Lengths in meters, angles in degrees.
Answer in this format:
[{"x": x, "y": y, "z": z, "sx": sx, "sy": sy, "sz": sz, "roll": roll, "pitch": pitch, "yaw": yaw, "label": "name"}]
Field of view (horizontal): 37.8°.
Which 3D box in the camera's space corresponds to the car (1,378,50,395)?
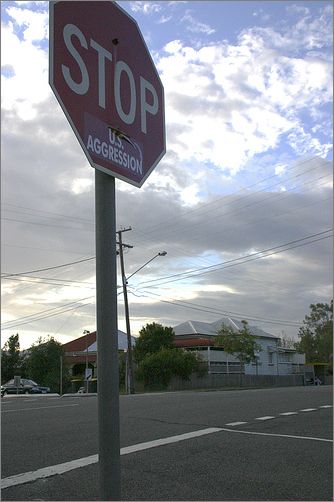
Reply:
[{"x": -12.022, "y": 11.372, "z": 40.608, "sx": 3.777, "sy": 1.195, "sz": 1.994, "roll": -7, "pitch": -11, "yaw": 16, "label": "car"}]
